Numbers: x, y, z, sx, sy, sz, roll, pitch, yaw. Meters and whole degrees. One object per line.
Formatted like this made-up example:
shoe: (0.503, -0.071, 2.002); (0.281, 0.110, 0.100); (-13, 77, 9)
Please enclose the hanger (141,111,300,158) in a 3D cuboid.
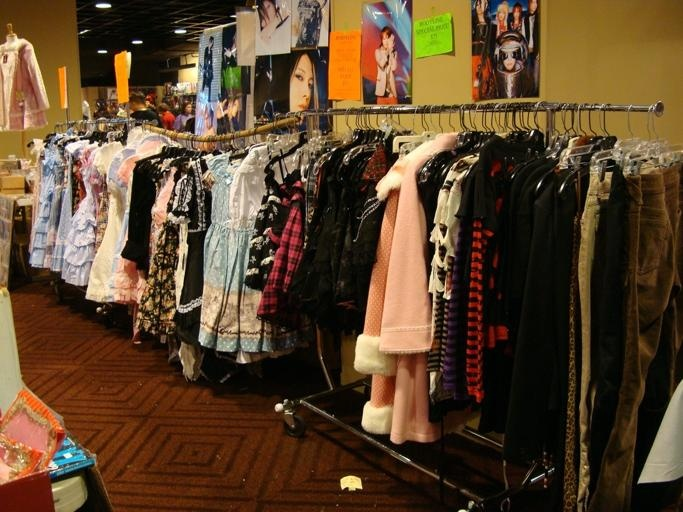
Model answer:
hanger: (-0.723, -0.754, 3.425); (0.544, 0.220, 1.635); (-10, 16, -35)
